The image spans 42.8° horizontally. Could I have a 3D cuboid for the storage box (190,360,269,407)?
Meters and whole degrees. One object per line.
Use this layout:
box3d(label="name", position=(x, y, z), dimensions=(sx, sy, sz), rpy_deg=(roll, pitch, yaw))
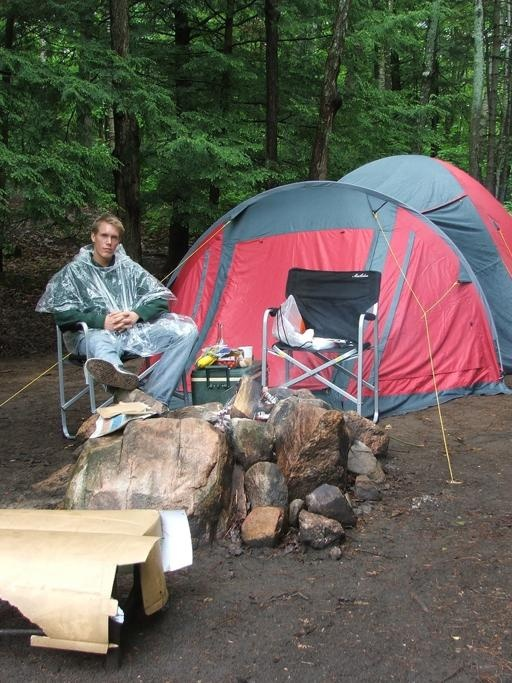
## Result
box3d(label="storage box", position=(-0.226, 0.256, 4.234), dimensions=(0.289, 0.250, 0.426), rpy_deg=(1, 4, 17))

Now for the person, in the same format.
box3d(label="person", position=(-0.881, -0.136, 4.419), dimensions=(1.126, 1.296, 1.279), rpy_deg=(-6, -1, -36))

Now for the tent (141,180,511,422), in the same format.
box3d(label="tent", position=(0.672, -0.513, 5.124), dimensions=(2.173, 1.209, 2.122), rpy_deg=(2, 6, 31))

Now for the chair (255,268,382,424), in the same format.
box3d(label="chair", position=(0.449, 0.008, 4.740), dimensions=(0.784, 0.938, 0.694), rpy_deg=(6, 25, 16))
